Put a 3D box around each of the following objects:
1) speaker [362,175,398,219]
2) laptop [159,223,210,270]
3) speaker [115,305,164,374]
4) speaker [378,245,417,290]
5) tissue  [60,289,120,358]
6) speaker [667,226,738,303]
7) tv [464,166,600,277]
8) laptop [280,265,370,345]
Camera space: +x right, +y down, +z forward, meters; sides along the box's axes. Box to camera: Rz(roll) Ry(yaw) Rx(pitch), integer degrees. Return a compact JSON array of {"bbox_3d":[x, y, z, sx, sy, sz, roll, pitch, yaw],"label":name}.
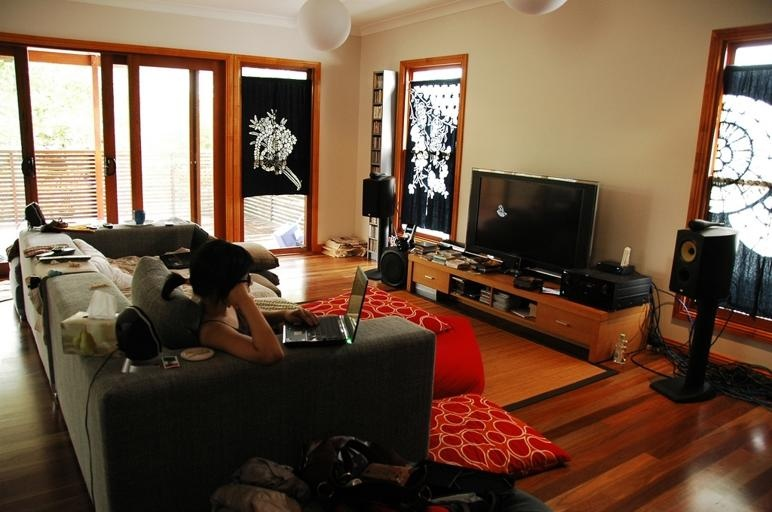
[{"bbox_3d":[-0.103,-0.762,6.384,0.391,0.556,0.214,1,13,-1],"label":"speaker"},{"bbox_3d":[-1.912,-0.098,4.671,0.323,0.371,0.515,-4,21,-40],"label":"laptop"},{"bbox_3d":[-1.238,0.426,2.512,0.226,0.319,0.213,13,24,42],"label":"speaker"},{"bbox_3d":[0.152,0.139,6.212,0.254,0.448,0.449,-2,16,-31],"label":"speaker"},{"bbox_3d":[-1.549,0.334,2.740,0.353,0.341,0.340,0,6,-18],"label":"tissue "},{"bbox_3d":[2.483,0.064,3.949,0.401,0.534,0.240,8,15,29],"label":"speaker"},{"bbox_3d":[1.528,-0.348,5.131,1.044,0.722,0.284,24,29,39],"label":"tv"},{"bbox_3d":[-0.365,0.232,2.890,0.442,0.355,0.491,1,17,-6],"label":"laptop"}]
